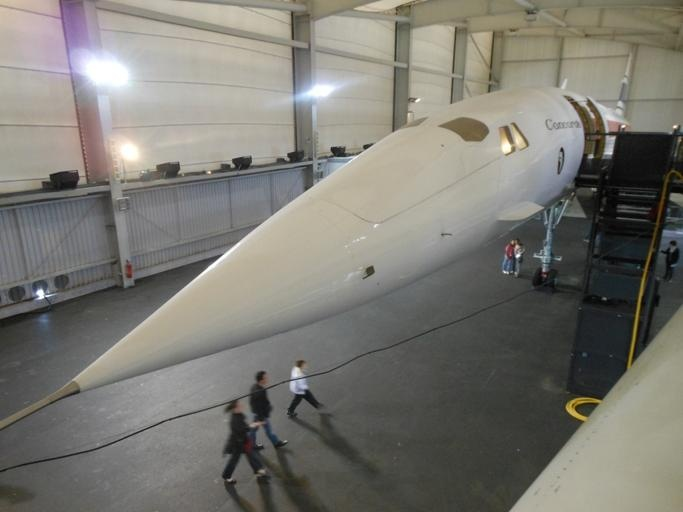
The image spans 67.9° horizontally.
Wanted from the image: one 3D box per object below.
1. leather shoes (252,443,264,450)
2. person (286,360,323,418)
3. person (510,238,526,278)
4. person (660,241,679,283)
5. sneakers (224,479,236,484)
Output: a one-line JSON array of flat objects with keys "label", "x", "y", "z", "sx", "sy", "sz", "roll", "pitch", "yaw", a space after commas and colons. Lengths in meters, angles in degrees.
[{"label": "leather shoes", "x": -1.685, "y": 3.935, "z": 10.293, "sx": 0.146, "sy": 0.073, "sz": 0.213, "roll": -16, "pitch": -17, "yaw": 39}, {"label": "person", "x": -0.821, "y": 2.860, "z": 10.970, "sx": 0.752, "sy": 1.321, "sz": 1.235, "roll": -3, "pitch": 14, "yaw": -3}, {"label": "person", "x": 6.642, "y": -0.022, "z": 19.055, "sx": 0.371, "sy": 1.401, "sz": 1.671, "roll": 3, "pitch": 15, "yaw": 18}, {"label": "person", "x": 11.879, "y": 0.179, "z": 18.241, "sx": 0.351, "sy": 1.488, "sz": 0.800, "roll": 7, "pitch": 17, "yaw": 33}, {"label": "sneakers", "x": -2.116, "y": 4.369, "z": 9.684, "sx": 0.101, "sy": 0.092, "sz": 0.246, "roll": -11, "pitch": -13, "yaw": 26}]
